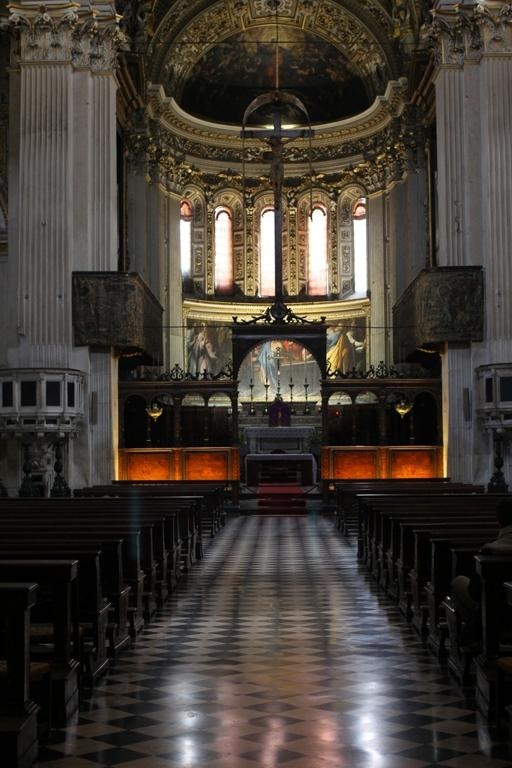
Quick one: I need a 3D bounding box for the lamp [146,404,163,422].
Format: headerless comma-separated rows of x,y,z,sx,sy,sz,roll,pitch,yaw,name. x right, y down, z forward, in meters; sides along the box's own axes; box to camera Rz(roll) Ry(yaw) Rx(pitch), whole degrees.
-2.311,0.669,23.514,0.417,0.411,0.421,2,1,3,lamp

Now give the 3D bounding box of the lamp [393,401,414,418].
3.334,0.535,23.443,0.435,0.454,0.428,0,-1,-28,lamp

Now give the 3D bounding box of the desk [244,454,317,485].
0.623,2.050,25.291,1.558,0.805,1.847,-2,-1,18,desk
